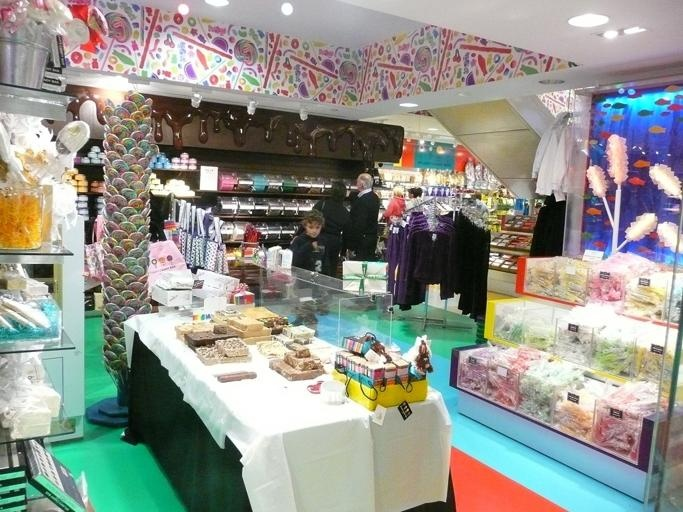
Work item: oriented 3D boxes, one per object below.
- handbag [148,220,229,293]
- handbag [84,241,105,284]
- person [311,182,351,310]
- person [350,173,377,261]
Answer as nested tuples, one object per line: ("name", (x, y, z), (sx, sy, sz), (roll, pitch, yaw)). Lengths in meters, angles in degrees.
("handbag", (-1.462, -0.050, 4.440), (0.687, 0.597, 0.396), (-2, 7, -27))
("handbag", (-3.049, 0.071, 5.759), (0.186, 0.564, 0.427), (3, 3, -27))
("person", (-0.161, -0.151, 7.082), (0.569, 1.892, 0.549), (2, 16, -19))
("person", (0.338, -0.602, 7.437), (0.498, 1.349, 0.274), (0, 6, -13))
